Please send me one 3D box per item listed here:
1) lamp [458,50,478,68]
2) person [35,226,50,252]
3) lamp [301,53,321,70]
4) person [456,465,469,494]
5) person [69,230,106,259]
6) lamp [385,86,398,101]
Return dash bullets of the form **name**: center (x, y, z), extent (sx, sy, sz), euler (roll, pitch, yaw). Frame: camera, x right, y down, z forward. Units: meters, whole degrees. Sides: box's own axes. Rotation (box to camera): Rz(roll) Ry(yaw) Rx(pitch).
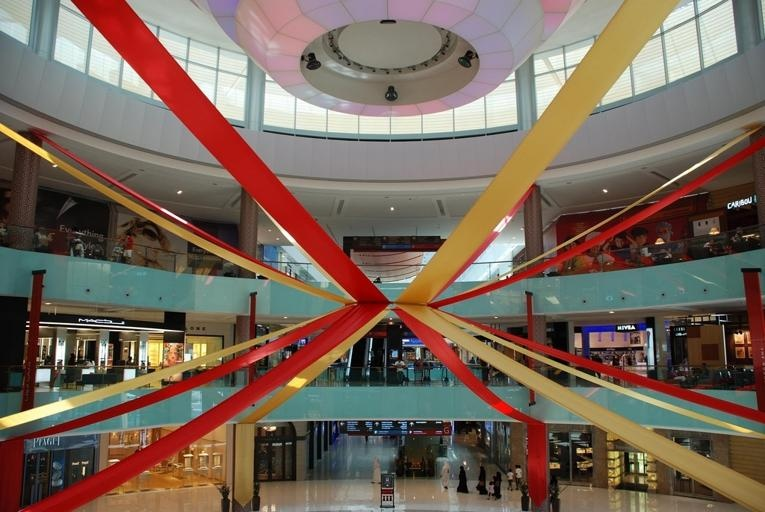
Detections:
- **lamp**: center (2.520, -5.814, 15.124), extent (0.546, 0.448, 0.421), euler (-2, -14, 9)
- **person**: center (-14.090, -0.631, 21.099), extent (0.259, 0.914, 0.630), euler (-6, -15, 21)
- **lamp**: center (-2.078, -5.708, 15.052), extent (0.417, 0.498, 0.613), euler (-5, -14, 20)
- **person**: center (4.490, 12.483, 28.880), extent (0.554, 1.390, 1.696), euler (-2, -14, 7)
- **person**: center (-12.863, -0.487, 22.491), extent (1.514, 1.046, 2.052), euler (-2, -3, 1)
- **lamp**: center (0.281, -5.242, 16.398), extent (0.431, 0.462, 0.111), euler (2, -3, 1)
